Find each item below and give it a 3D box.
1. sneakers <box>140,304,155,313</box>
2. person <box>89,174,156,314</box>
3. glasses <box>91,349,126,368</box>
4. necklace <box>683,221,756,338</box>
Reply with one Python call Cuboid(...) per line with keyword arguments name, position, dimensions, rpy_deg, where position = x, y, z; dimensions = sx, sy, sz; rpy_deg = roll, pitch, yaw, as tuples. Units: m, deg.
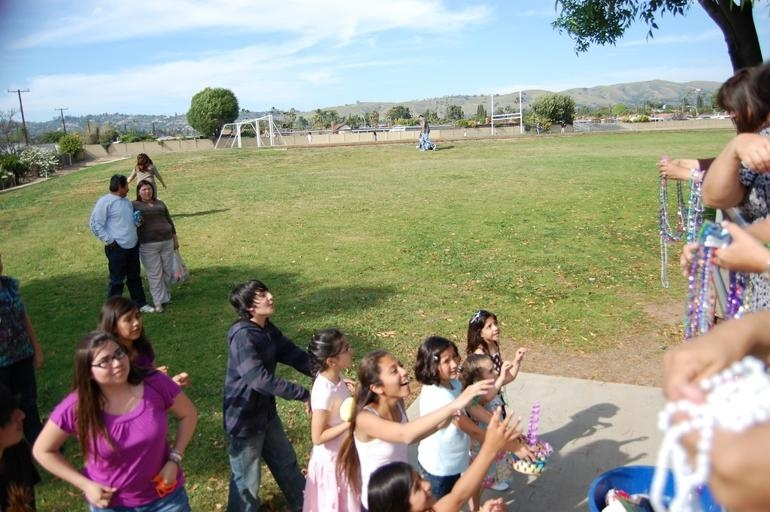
Cuboid(name="sneakers", position=(-4.701, 1.065, 9.159), dimensions=(0.301, 0.129, 0.138), rpy_deg=(-1, 6, 19))
Cuboid(name="person", position=(-5.070, -0.169, 8.820), dimensions=(0.736, 2.669, 0.539), rpy_deg=(-11, 12, -25))
Cuboid(name="glasses", position=(-1.987, 0.750, 3.318), dimensions=(0.210, 0.098, 0.066), rpy_deg=(-14, 14, -40))
Cuboid(name="necklace", position=(1.434, 0.135, 1.941), dimensions=(0.460, 0.609, 0.169), rpy_deg=(-10, 10, -34))
